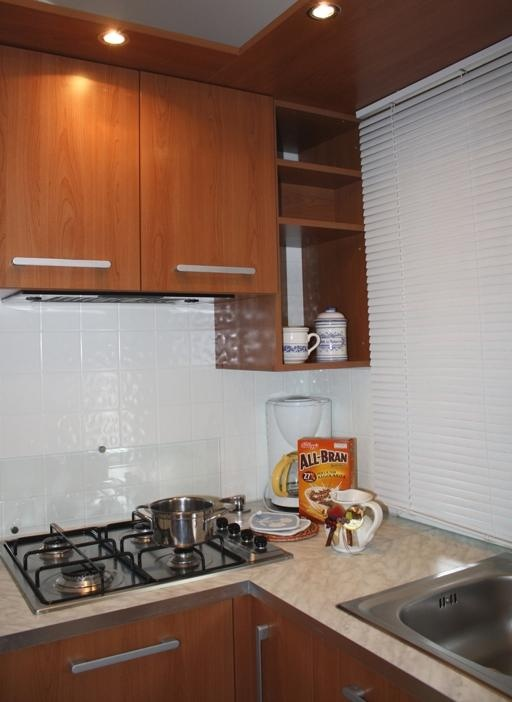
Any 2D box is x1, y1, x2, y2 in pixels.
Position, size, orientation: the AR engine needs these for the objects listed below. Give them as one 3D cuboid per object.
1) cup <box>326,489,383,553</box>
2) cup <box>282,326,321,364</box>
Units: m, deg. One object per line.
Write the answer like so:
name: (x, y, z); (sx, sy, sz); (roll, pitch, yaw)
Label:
cup: (0.230, 0.440, 1.519); (0.159, 0.148, 0.112); (1, -10, 2)
cup: (0.110, -0.019, 1.790); (0.133, 0.107, 0.084); (1, 0, -15)
